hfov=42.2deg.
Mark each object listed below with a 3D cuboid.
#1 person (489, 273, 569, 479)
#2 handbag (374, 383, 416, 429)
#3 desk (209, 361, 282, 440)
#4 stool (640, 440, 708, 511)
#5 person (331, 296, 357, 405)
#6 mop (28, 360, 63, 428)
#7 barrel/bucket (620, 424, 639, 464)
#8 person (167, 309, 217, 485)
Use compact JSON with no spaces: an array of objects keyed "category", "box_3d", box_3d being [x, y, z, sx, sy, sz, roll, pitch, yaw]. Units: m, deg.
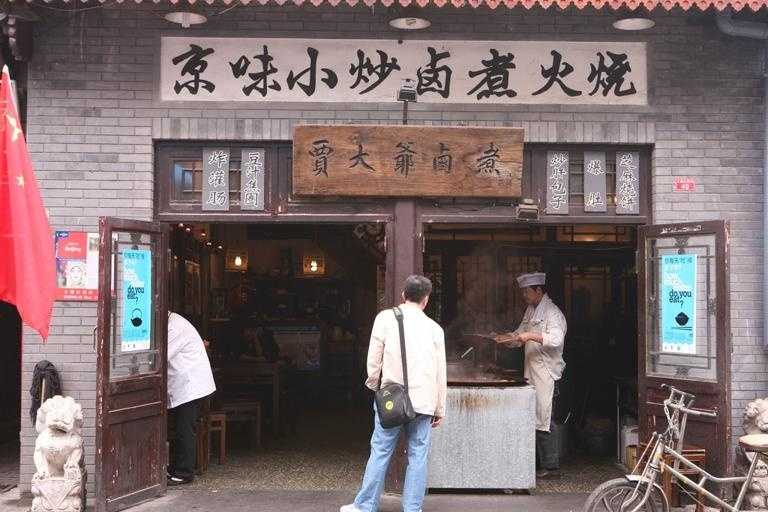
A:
[{"category":"person","box_3d":[2.066,1.555,13.555,0.782,2.645,0.861,-2,2,7]},{"category":"handbag","box_3d":[0.119,1.678,11.276,0.399,0.459,0.251,-17,-12,14]},{"category":"desk","box_3d":[-2.112,2.318,15.462,1.367,1.308,1.033,0,-5,-5]},{"category":"stool","box_3d":[3.578,2.638,12.184,0.736,1.018,0.709,-2,-3,36]},{"category":"person","box_3d":[-0.746,1.640,19.242,0.368,1.484,0.602,-1,7,-4]},{"category":"mop","box_3d":[-4.222,1.676,12.323,0.403,0.789,0.213,-2,2,-15]},{"category":"barrel/bucket","box_3d":[3.339,2.505,13.621,0.266,0.361,0.268,1,-9,0]},{"category":"person","box_3d":[-2.585,1.817,12.925,0.661,2.136,0.424,-3,2,-26]}]
